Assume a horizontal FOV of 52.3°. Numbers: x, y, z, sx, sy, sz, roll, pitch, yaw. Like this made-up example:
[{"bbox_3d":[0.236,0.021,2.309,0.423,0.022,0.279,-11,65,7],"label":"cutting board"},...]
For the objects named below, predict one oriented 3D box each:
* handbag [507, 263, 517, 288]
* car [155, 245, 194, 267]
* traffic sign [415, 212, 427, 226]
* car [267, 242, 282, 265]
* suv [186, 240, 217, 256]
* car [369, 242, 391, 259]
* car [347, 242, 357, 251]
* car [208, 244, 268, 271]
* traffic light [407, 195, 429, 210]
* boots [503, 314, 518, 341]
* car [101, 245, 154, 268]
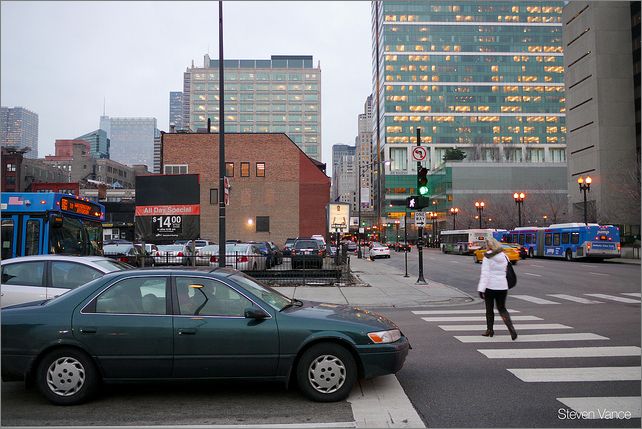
[{"bbox_3d":[6.197,1.947,21.127,0.263,1.087,1.848,0,7,18],"label":"handbag"},{"bbox_3d":[-6.737,1.863,30.386,0.993,0.689,2.178,0,2,-2],"label":"car"},{"bbox_3d":[4.863,0.187,31.715,0.689,0.760,0.105,1,1,0],"label":"traffic sign"},{"bbox_3d":[-2.690,2.151,37.660,0.869,0.755,1.588,0,1,7],"label":"car"},{"bbox_3d":[-7.488,1.792,40.836,1.019,0.804,2.194,0,4,3],"label":"suv"},{"bbox_3d":[5.293,3.328,58.576,1.654,1.286,2.085,-1,6,6],"label":"car"},{"bbox_3d":[3.668,3.637,75.818,1.376,1.013,2.216,-1,-3,1],"label":"car"},{"bbox_3d":[-4.032,1.806,31.331,2.468,0.841,6.268,-3,6,-8],"label":"car"},{"bbox_3d":[4.603,-0.592,30.936,0.878,0.605,0.610,-1,1,10],"label":"traffic light"},{"bbox_3d":[5.908,3.415,20.242,0.308,0.901,0.358,-15,-5,-30],"label":"boots"},{"bbox_3d":[-8.677,2.105,29.204,1.427,1.013,3.072,0,1,3],"label":"car"}]
